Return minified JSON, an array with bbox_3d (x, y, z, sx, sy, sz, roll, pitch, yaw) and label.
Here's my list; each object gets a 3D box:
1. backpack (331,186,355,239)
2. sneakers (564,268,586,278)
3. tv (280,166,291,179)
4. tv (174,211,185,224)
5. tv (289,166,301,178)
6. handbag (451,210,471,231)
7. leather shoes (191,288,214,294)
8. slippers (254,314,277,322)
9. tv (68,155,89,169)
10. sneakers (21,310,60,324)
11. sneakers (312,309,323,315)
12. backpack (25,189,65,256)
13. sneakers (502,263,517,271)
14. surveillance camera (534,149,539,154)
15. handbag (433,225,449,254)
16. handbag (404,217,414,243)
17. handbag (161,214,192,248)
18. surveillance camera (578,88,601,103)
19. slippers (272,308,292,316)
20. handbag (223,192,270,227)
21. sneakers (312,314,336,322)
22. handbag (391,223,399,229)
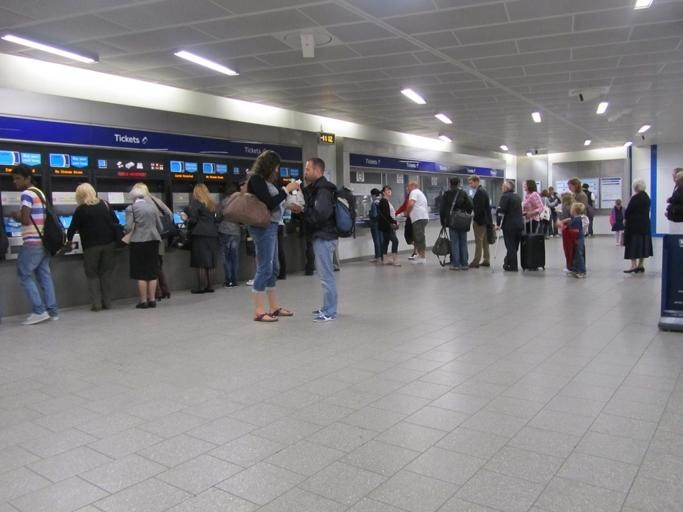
[{"bbox_3d":[0.031,-0.585,6.114,0.226,0.647,0.332,-2,6,11],"label":"backpack"},{"bbox_3d":[4.722,0.356,9.328,0.318,0.142,0.117,10,7,40],"label":"sneakers"},{"bbox_3d":[-1.311,-1.938,10.650,0.036,0.283,0.341,0,1,39],"label":"tv"},{"bbox_3d":[-2.980,-0.723,8.592,0.073,0.266,0.295,-2,-3,25],"label":"tv"},{"bbox_3d":[-1.118,-1.986,10.870,0.108,0.277,0.333,0,0,34],"label":"tv"},{"bbox_3d":[2.734,-0.814,10.645,0.519,0.482,0.226,1,-1,4],"label":"handbag"},{"bbox_3d":[-2.596,0.633,8.569,0.290,0.111,0.150,3,2,26],"label":"leather shoes"},{"bbox_3d":[-1.020,0.819,6.181,0.243,0.083,0.127,-3,0,10],"label":"slippers"},{"bbox_3d":[-4.190,-1.502,7.315,0.034,0.178,0.258,-8,-2,34],"label":"tv"},{"bbox_3d":[-4.156,0.842,6.408,0.491,0.204,0.177,-3,-3,-24],"label":"sneakers"},{"bbox_3d":[-0.356,0.780,6.456,0.156,0.060,0.066,1,-4,38],"label":"sneakers"},{"bbox_3d":[-4.055,-0.482,6.380,0.348,0.949,0.195,-7,7,-29],"label":"backpack"},{"bbox_3d":[3.778,0.265,10.379,0.104,0.204,0.303,0,-5,-44],"label":"sneakers"},{"bbox_3d":[8.734,-4.719,20.707,0.162,0.172,0.164,1,5,37],"label":"surveillance camera"},{"bbox_3d":[2.501,-0.346,11.565,0.379,0.813,1.772,-2,6,12],"label":"handbag"},{"bbox_3d":[1.890,-0.720,12.964,0.197,0.762,0.596,-3,6,4],"label":"handbag"},{"bbox_3d":[-2.862,-0.437,8.010,0.414,0.527,0.548,-4,-35,-14],"label":"handbag"},{"bbox_3d":[5.190,-3.376,9.644,0.432,0.120,0.685,1,8,39],"label":"surveillance camera"},{"bbox_3d":[-0.834,0.775,6.447,0.274,0.095,0.103,-3,2,-16],"label":"slippers"},{"bbox_3d":[-1.214,-0.599,5.905,0.581,0.460,0.256,-2,6,12],"label":"handbag"},{"bbox_3d":[-0.239,0.830,6.152,0.281,0.117,0.100,6,-5,-1],"label":"sneakers"},{"bbox_3d":[1.413,-0.798,12.106,0.142,0.139,0.357,-1,6,19],"label":"handbag"}]
